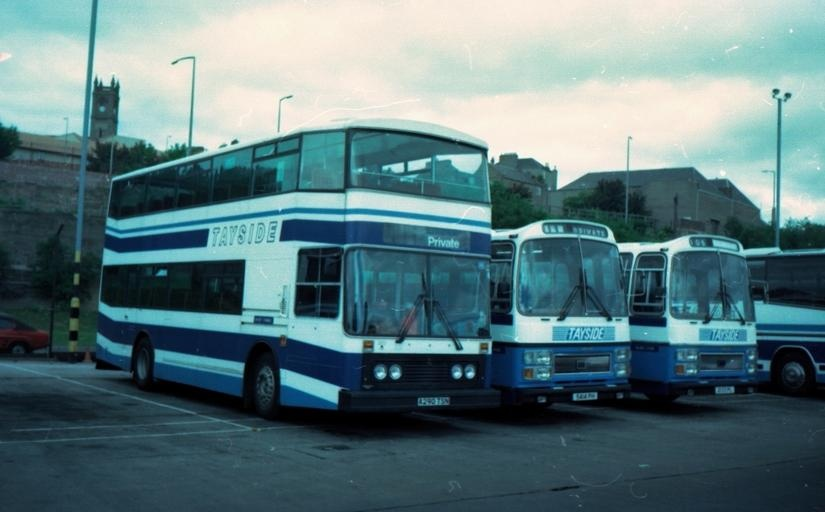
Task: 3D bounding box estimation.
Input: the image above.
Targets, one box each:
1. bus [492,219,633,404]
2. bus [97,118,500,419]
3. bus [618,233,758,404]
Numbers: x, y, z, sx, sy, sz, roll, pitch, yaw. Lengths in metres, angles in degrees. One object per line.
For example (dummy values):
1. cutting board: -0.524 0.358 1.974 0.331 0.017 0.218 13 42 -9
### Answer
1. bus: 3.101 1.639 23.118 3.358 4.672 9.601 0 -2 -12
2. bus: -4.132 0.347 20.513 13.830 5.293 3.740 1 0 40
3. bus: 8.397 2.168 24.437 3.058 4.372 8.739 0 -6 3
